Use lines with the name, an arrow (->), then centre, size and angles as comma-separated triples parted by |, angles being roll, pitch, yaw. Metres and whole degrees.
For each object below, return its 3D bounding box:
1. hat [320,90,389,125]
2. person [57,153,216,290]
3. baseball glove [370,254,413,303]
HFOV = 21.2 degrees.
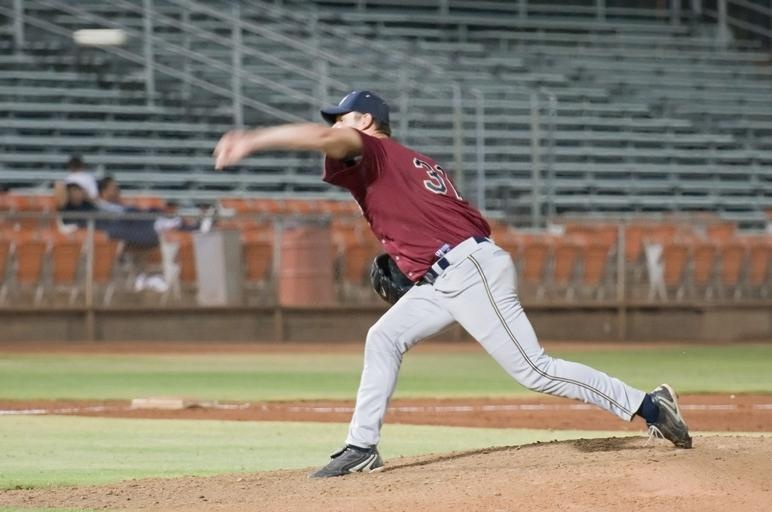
hat -> -0.362, -1.655, 22.950 | 0.706, 0.305, 0.386 | 9, 4, 3
person -> -3.302, -0.383, 26.830 | 2.137, 0.970, 1.327 | 5, 34, -12
baseball glove -> -0.061, 0.270, 23.007 | 0.471, 0.355, 0.577 | 35, 10, -17
